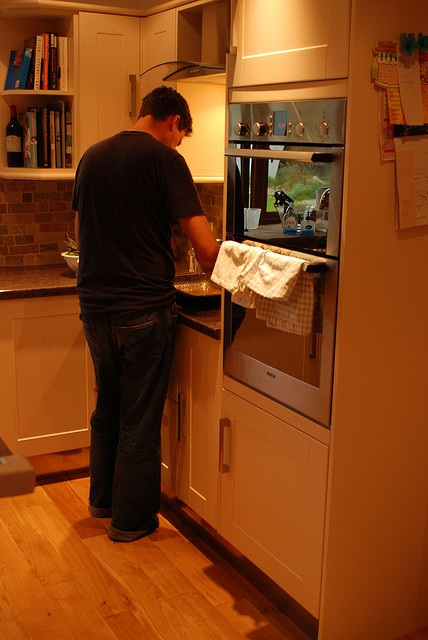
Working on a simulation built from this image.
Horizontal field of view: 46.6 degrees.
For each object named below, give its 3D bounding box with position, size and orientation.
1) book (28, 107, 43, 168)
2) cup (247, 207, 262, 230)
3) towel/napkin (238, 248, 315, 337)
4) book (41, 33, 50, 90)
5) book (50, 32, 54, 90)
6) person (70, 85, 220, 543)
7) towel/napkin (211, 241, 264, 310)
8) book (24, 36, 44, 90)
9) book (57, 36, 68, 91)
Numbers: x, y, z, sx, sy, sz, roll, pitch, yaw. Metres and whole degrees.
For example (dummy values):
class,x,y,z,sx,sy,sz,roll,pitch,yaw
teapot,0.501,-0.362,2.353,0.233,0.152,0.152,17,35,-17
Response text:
class,x,y,z,sx,sy,sz,roll,pitch,yaw
book,-0.957,-0.975,2.659,0.030,0.361,0.238,-1,7,-13
cup,0.115,-0.302,1.468,0.043,0.064,0.052,-2,12,-9
towel/napkin,0.183,-0.083,1.277,0.028,0.202,0.232,-9,15,-24
book,-0.867,-1.326,2.556,0.036,0.206,0.180,0,10,-14
book,-0.840,-1.334,2.571,0.028,0.255,0.043,-1,5,-20
person,-0.292,-0.033,2.006,0.505,1.691,0.462,10,15,24
towel/napkin,0.070,-0.130,1.471,0.050,0.190,0.179,-4,-38,28
book,-0.943,-1.377,2.648,0.118,0.258,0.244,-3,22,-15
book,-0.785,-1.325,2.577,0.060,0.254,0.043,0,5,-6
